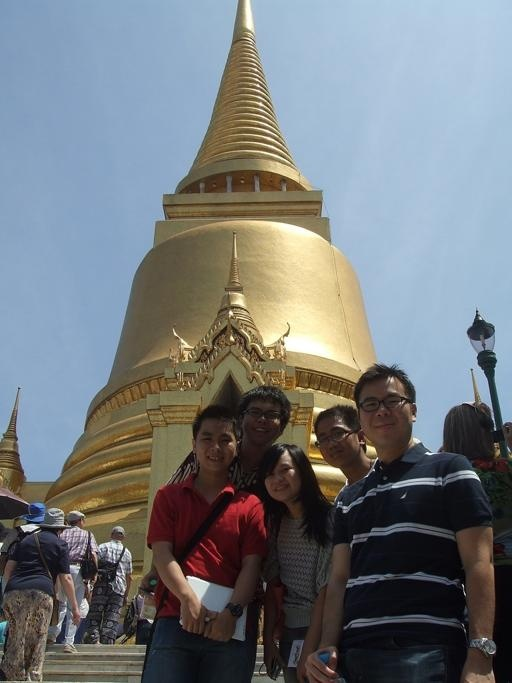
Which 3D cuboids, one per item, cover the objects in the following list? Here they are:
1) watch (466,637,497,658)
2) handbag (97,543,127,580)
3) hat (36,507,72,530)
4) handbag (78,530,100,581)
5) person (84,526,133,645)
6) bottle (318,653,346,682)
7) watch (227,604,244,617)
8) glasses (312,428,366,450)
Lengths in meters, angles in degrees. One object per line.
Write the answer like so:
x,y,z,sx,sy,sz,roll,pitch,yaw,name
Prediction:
0.602,0.803,1.654,0.065,0.043,0.069,-13,-33,30,watch
-1.392,2.116,5.928,0.225,0.207,0.155,-11,-71,-11,handbag
-1.494,1.287,4.565,0.220,0.115,0.231,7,-16,-24,hat
-1.554,2.008,5.799,0.160,0.433,0.329,9,-31,-10,handbag
-1.451,2.411,5.997,0.416,1.273,0.370,17,-49,-15,person
0.218,0.951,1.815,0.090,0.078,0.022,-18,-37,32,bottle
-0.076,0.953,2.205,0.044,0.032,0.055,14,-30,3,watch
0.410,0.468,3.003,0.174,0.069,0.207,-5,-30,13,glasses
